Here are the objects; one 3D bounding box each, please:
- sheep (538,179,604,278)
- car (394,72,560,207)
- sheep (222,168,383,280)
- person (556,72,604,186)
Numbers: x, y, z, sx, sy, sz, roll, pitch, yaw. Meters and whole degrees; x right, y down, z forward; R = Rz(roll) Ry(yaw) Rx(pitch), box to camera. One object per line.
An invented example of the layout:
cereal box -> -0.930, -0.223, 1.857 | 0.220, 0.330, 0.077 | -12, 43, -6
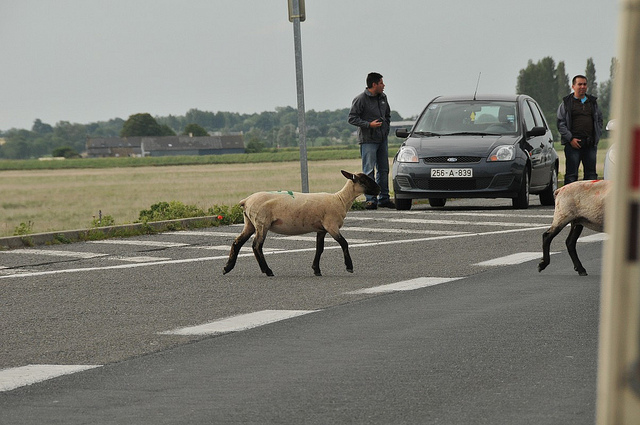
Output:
sheep -> 2.707, 0.158, 8.661 | 0.671, 1.015, 0.740 | 0, 5, 18
car -> 3.323, -1.323, 16.644 | 3.736, 2.288, 2.354 | -5, 6, -40
sheep -> -0.166, 0.045, 10.229 | 1.803, 1.162, 2.783 | -1, 5, 4
person -> 5.055, -1.609, 15.607 | 1.250, 2.025, 0.690 | -5, 6, -40
